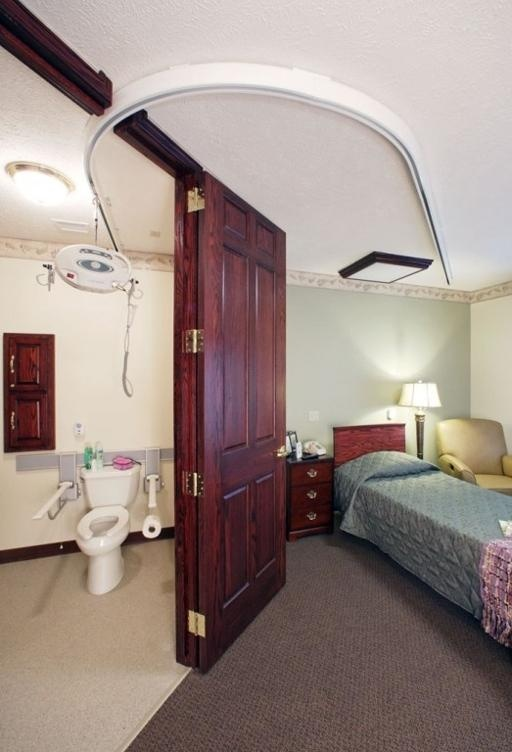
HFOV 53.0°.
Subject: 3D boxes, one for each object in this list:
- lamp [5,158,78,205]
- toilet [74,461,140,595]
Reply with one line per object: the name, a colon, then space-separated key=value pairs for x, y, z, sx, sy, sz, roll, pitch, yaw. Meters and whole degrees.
lamp: x=-1.054 y=-0.937 z=2.527 sx=0.307 sy=0.118 sz=0.396 roll=-3 pitch=8 yaw=-19
toilet: x=-0.944 y=0.949 z=3.235 sx=0.358 sy=0.627 sz=0.669 roll=0 pitch=10 yaw=-7
